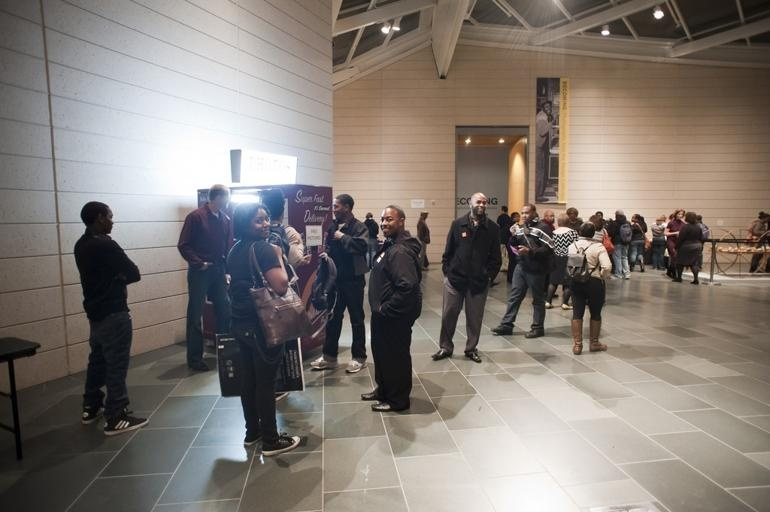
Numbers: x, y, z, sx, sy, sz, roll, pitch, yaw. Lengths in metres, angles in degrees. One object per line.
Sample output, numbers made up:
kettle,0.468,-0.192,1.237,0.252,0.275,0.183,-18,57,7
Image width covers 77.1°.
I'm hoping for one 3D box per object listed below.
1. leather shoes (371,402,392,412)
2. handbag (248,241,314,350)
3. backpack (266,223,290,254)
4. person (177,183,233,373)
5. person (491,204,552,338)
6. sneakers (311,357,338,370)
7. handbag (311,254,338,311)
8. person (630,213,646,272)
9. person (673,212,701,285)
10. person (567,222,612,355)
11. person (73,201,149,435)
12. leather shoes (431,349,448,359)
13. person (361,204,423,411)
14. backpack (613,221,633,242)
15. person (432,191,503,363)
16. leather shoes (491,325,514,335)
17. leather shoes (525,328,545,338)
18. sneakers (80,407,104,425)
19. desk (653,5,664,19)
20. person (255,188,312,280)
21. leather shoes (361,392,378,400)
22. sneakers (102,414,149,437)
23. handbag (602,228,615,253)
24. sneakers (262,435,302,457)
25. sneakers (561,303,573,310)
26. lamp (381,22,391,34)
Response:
leather shoes,-0.026,1.644,5.272,0.176,0.064,0.095,2,-2,-4
handbag,-0.974,0.369,4.495,0.540,0.952,0.276,-2,8,-17
backpack,-1.187,-0.223,5.392,0.131,0.245,0.351,-32,0,1
person,-2.260,0.251,6.155,0.641,2.310,0.428,-4,9,-31
person,2.077,0.215,7.284,0.972,1.962,0.907,1,-1,3
sneakers,-0.785,1.366,6.152,0.381,0.157,0.133,3,-4,-15
handbag,-0.748,0.313,5.891,0.317,0.684,0.298,0,8,-6
person,7.014,-0.358,13.300,0.402,1.554,1.051,5,9,28
person,7.108,-0.197,11.237,0.512,1.677,0.998,6,9,33
person,2.884,0.425,6.750,0.677,1.721,0.672,2,3,45
person,-2.843,0.613,4.951,0.698,2.327,0.417,4,9,26
leather shoes,0.734,1.311,6.481,0.213,0.077,0.103,3,-3,-32
person,0.107,0.564,5.279,0.545,2.193,0.435,0,8,-3
backpack,6.187,-0.586,12.479,0.387,0.507,0.504,2,-8,7
person,1.101,0.271,6.432,0.837,2.194,0.541,2,8,11
leather shoes,1.823,1.136,7.465,0.286,0.111,0.144,2,1,-3
leather shoes,2.291,1.168,7.366,0.343,0.133,0.112,1,-1,-16
sneakers,-3.077,1.659,5.099,0.117,0.140,0.343,3,3,6
desk,7.018,-6.180,12.326,0.243,0.217,0.966,5,9,28
person,-1.233,-0.178,5.489,0.484,0.334,1.005,-7,-32,-9
leather shoes,-0.170,1.577,5.456,0.216,0.079,0.075,3,-3,2
sneakers,-2.681,1.701,4.983,0.461,0.273,0.167,-1,2,-32
handbag,5.083,-0.358,10.943,0.297,0.616,0.633,-3,3,20
sneakers,-1.005,1.823,4.729,0.369,0.135,0.153,-3,5,-34
sneakers,3.438,0.935,9.046,0.258,0.092,0.092,-1,2,-19
lamp,0.036,-5.636,11.888,0.215,0.199,0.154,28,10,1
